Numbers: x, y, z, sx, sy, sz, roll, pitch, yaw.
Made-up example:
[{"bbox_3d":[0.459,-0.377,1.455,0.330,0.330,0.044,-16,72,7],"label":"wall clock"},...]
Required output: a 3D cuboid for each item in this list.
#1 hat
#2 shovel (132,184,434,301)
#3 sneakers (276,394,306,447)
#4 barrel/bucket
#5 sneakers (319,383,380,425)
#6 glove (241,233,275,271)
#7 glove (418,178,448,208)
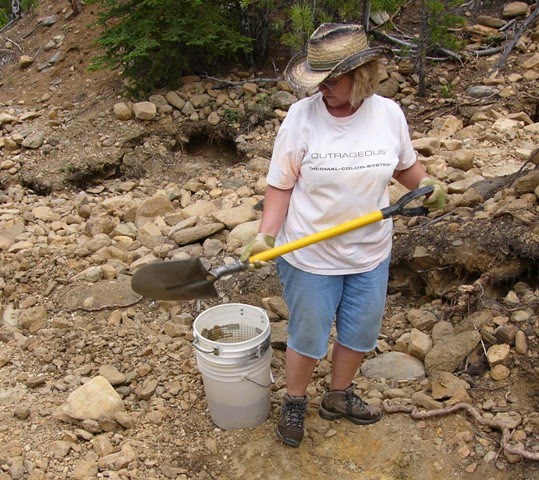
[{"bbox_3d":[0.340,-0.951,3.507,0.568,0.316,0.391,1,36,7],"label":"hat"},{"bbox_3d":[0.058,0.048,3.587,1.697,0.193,0.266,-18,25,7],"label":"shovel"},{"bbox_3d":[0.126,1.065,4.063,0.165,0.145,0.349,4,34,0],"label":"sneakers"},{"bbox_3d":[-0.228,0.806,4.171,0.595,0.635,0.557,-1,33,0],"label":"barrel/bucket"},{"bbox_3d":[0.485,1.000,4.215,0.511,0.264,0.165,1,40,2],"label":"sneakers"},{"bbox_3d":[-0.072,0.054,3.648,0.214,0.151,0.068,-38,2,-18],"label":"glove"},{"bbox_3d":[0.914,-0.264,3.787,0.186,0.172,0.098,0,4,-15],"label":"glove"}]
